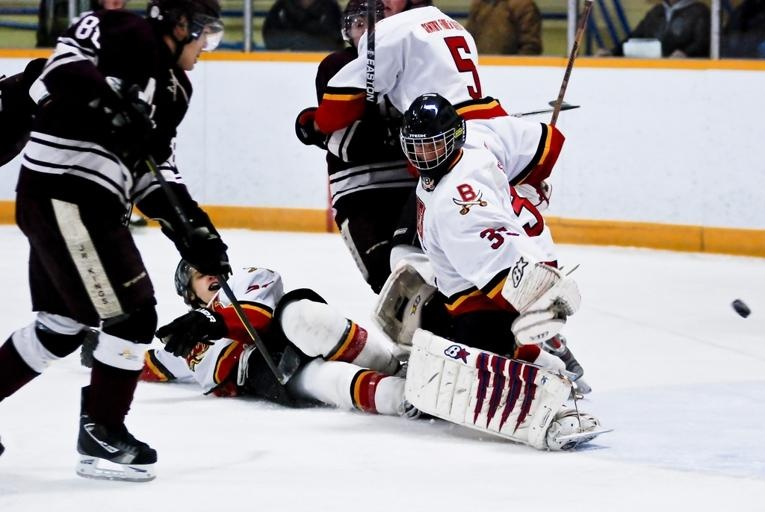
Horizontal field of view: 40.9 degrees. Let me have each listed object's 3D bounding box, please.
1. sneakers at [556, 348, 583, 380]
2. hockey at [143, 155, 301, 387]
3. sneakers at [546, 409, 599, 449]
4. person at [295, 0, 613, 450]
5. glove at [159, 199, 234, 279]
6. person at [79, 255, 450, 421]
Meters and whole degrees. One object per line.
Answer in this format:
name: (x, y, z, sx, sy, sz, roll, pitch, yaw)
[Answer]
sneakers: (0.840, 0.491, 4.607, 0.073, 0.053, 0.125, -25, 72, -40)
hockey: (-0.813, 0.060, 5.463, 0.219, 1.871, 0.179, 14, 49, 34)
sneakers: (0.750, 0.687, 4.028, 0.207, 0.158, 0.107, 1, 13, 2)
person: (0.276, 0.266, 4.903, 1.489, 1.725, 0.973, 1, -10, -3)
glove: (-0.709, -0.038, 3.988, 0.191, 0.145, 0.323, -39, 79, -22)
person: (-0.385, 0.432, 4.628, 1.070, 0.739, 0.461, 30, 19, -23)
